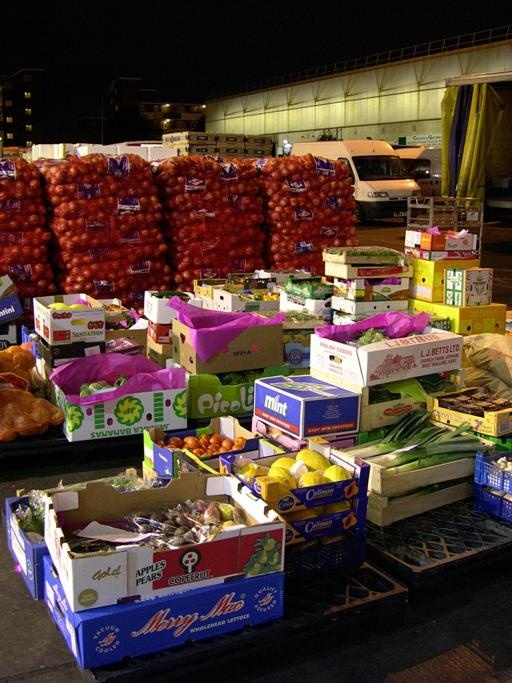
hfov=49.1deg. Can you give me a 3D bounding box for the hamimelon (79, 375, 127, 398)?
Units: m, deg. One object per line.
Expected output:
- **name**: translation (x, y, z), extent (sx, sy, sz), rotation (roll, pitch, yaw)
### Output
- **hamimelon**: translation (-1.056, 0.313, 3.824), extent (0.228, 0.093, 0.184), rotation (-23, -3, 31)

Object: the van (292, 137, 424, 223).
- **van**: translation (4.015, -5.984, 20.423), extent (3.497, 3.118, 6.087), rotation (-9, 19, -23)

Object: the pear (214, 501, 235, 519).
- **pear**: translation (-0.118, 0.670, 2.236), extent (0.046, 0.032, 0.057), rotation (-4, 25, -30)

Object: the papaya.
- **papaya**: translation (0.199, 0.648, 2.456), extent (0.392, 0.175, 0.378), rotation (-4, 11, -23)

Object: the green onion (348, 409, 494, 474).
- **green onion**: translation (0.913, 0.600, 3.208), extent (0.525, 0.158, 0.360), rotation (-8, 10, -28)
